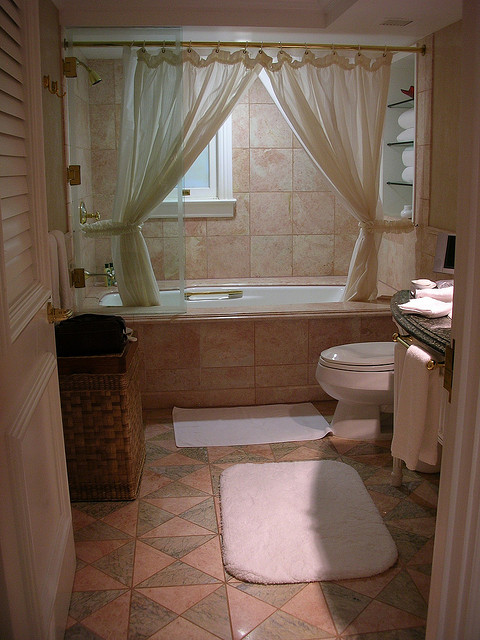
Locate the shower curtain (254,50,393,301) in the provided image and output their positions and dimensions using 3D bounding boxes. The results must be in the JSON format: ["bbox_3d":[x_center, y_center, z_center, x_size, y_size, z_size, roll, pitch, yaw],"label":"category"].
[{"bbox_3d":[0.576,-0.886,3.125,0.739,1.551,0.169,-3,9,-9],"label":"shower curtain"}]

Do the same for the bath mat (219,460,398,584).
[{"bbox_3d":[0.256,0.765,1.812,0.578,0.082,0.984,2,12,-4],"label":"bath mat"}]

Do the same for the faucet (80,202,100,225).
[{"bbox_3d":[-0.884,-0.633,2.877,0.114,0.192,0.094,-1,12,-5],"label":"faucet"}]

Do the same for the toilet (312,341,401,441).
[{"bbox_3d":[0.642,0.399,2.609,0.464,0.405,0.479,-1,3,7],"label":"toilet"}]

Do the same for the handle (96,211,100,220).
[{"bbox_3d":[-0.862,-0.630,2.892,0.028,0.045,0.013,0,8,-5],"label":"handle"}]

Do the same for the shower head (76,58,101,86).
[{"bbox_3d":[-0.864,-1.396,2.705,0.089,0.159,0.224,-8,11,-34],"label":"shower head"}]

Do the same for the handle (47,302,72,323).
[{"bbox_3d":[-0.483,-0.021,1.270,0.053,0.062,0.101,-5,10,-21],"label":"handle"}]
